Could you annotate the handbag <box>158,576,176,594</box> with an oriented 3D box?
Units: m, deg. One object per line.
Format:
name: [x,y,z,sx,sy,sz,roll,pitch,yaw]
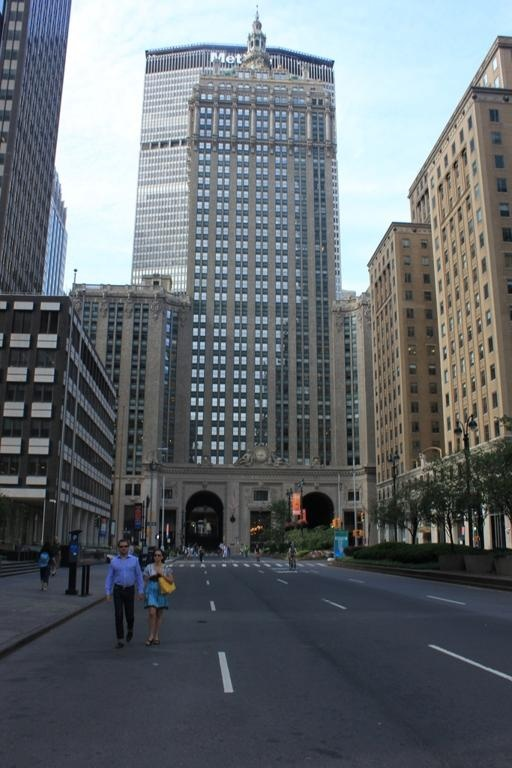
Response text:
handbag: [-1.626,3.606,9.724,0.273,0.303,0.282,0,-12,-7]

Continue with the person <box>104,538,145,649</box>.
person: [-2.393,3.770,9.734,0.598,1.874,1.695,2,-13,-16]

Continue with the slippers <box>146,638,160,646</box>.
slippers: [-1.824,4.547,9.504,0.232,0.117,0.334,-1,-14,-7]

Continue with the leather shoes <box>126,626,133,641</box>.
leather shoes: [-2.384,4.673,10.033,0.104,0.173,0.397,3,-37,-5]

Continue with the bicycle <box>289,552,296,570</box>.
bicycle: [2.732,13.161,39.948,0.595,1.046,1.560,0,-31,1]
